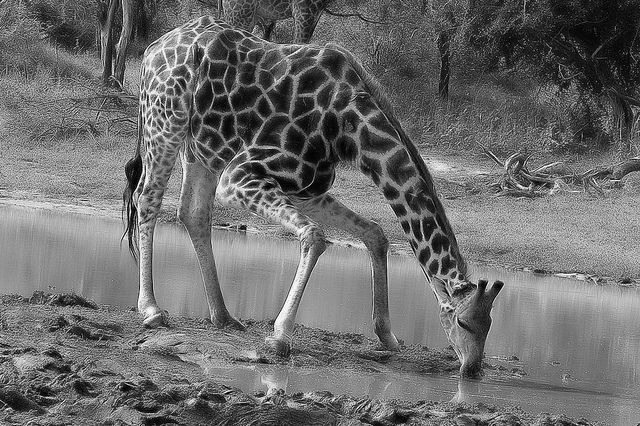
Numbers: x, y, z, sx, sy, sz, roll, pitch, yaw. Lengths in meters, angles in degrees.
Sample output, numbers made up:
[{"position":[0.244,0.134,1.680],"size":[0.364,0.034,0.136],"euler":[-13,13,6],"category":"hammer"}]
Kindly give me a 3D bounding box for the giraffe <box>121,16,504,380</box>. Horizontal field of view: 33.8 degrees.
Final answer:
[{"position":[-0.157,-0.144,11.389],"size":[4.908,3.414,1.746],"euler":[8,8,28],"category":"giraffe"}]
